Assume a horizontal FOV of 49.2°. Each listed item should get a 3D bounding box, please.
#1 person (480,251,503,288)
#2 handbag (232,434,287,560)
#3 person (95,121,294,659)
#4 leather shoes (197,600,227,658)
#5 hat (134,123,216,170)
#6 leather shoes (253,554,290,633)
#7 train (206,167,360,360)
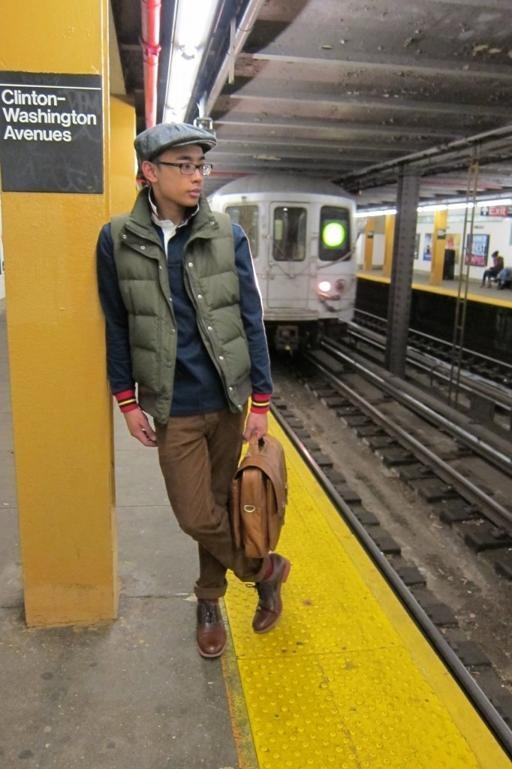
[{"bbox_3d":[8.530,-4.189,20.149,0.557,1.375,2.844,7,9,21],"label":"person"},{"bbox_3d":[0.004,0.399,2.014,0.178,0.370,0.435,0,26,7],"label":"handbag"},{"bbox_3d":[-0.215,-0.030,1.953,0.674,1.606,0.310,2,9,-17],"label":"person"},{"bbox_3d":[-0.171,0.919,2.082,0.073,0.086,0.219,0,3,-6],"label":"leather shoes"},{"bbox_3d":[-0.265,-0.747,1.784,0.198,0.079,0.147,-4,20,21],"label":"hat"},{"bbox_3d":[0.064,0.830,2.267,0.102,0.133,0.308,-16,35,34],"label":"leather shoes"},{"bbox_3d":[0.531,-1.859,7.934,1.270,1.956,3.863,-2,6,-7],"label":"train"}]
